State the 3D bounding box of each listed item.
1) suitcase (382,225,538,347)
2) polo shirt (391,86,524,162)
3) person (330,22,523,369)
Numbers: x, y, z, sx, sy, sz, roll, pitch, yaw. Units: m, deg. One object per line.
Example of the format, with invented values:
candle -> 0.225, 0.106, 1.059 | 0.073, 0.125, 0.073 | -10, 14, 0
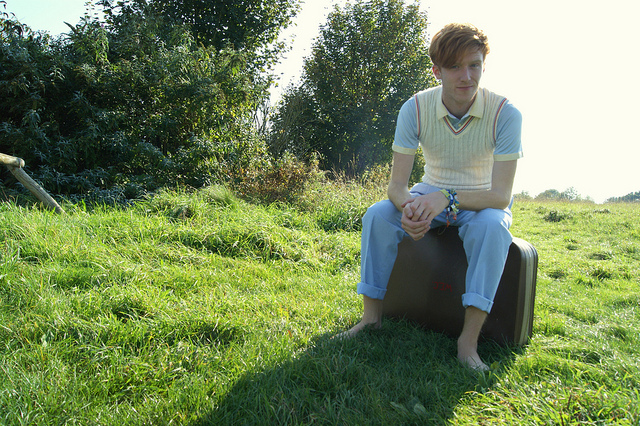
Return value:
suitcase -> 1.110, 0.583, 4.742 | 1.517, 1.030, 1.054 | 0, -1, -27
polo shirt -> 1.202, -0.776, 4.346 | 1.031, 0.802, 0.550 | 1, 3, 9
person -> 1.072, -0.227, 4.344 | 1.213, 2.877, 0.855 | 6, 4, 23
